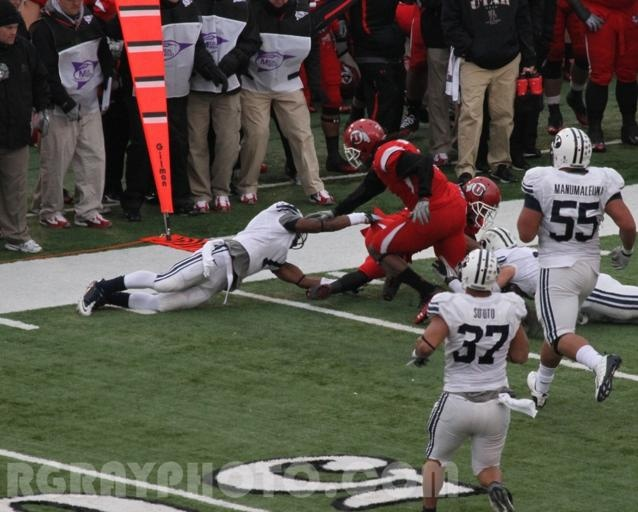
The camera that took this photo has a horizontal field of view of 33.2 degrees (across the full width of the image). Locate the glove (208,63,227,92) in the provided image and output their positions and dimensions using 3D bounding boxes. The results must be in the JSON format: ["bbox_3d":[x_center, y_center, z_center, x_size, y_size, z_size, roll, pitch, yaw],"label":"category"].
[{"bbox_3d":[-1.032,-1.810,10.929,0.092,0.259,0.205,-33,26,-11],"label":"glove"}]

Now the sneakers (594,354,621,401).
[{"bbox_3d":[1.805,0.767,6.625,0.145,0.301,0.278,5,9,24],"label":"sneakers"}]

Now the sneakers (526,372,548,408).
[{"bbox_3d":[1.478,0.887,7.239,0.107,0.280,0.127,-5,-15,-2],"label":"sneakers"}]

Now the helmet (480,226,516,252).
[{"bbox_3d":[1.463,-0.104,8.645,0.185,0.194,0.236,4,33,-36],"label":"helmet"}]

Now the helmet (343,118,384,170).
[{"bbox_3d":[0.390,-0.943,8.879,0.326,0.360,0.242,2,8,2],"label":"helmet"}]

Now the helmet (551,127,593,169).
[{"bbox_3d":[1.717,-0.720,7.080,0.263,0.267,0.328,-1,10,-2],"label":"helmet"}]

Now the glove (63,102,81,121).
[{"bbox_3d":[-2.391,-1.379,10.315,0.125,0.116,0.156,15,-37,-35],"label":"glove"}]

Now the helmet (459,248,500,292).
[{"bbox_3d":[0.948,0.091,6.166,0.241,0.249,0.309,8,2,3],"label":"helmet"}]

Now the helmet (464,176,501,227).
[{"bbox_3d":[1.372,-0.437,8.929,0.310,0.424,0.262,4,9,20],"label":"helmet"}]

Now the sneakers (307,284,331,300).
[{"bbox_3d":[0.007,0.307,8.813,0.188,0.096,0.081,-15,25,-11],"label":"sneakers"}]

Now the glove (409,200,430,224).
[{"bbox_3d":[0.801,-0.335,8.241,0.141,0.177,0.060,1,0,1],"label":"glove"}]

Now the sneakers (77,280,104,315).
[{"bbox_3d":[-1.793,0.326,8.566,0.161,0.132,0.345,-35,25,31],"label":"sneakers"}]

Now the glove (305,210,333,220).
[{"bbox_3d":[-0.007,-0.327,8.772,0.257,0.096,0.083,2,13,7],"label":"glove"}]

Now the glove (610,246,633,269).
[{"bbox_3d":[2.112,-0.004,7.349,0.129,0.154,0.081,26,21,14],"label":"glove"}]

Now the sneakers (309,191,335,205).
[{"bbox_3d":[0.041,-0.630,11.682,0.132,0.111,0.283,-14,14,-41],"label":"sneakers"}]
